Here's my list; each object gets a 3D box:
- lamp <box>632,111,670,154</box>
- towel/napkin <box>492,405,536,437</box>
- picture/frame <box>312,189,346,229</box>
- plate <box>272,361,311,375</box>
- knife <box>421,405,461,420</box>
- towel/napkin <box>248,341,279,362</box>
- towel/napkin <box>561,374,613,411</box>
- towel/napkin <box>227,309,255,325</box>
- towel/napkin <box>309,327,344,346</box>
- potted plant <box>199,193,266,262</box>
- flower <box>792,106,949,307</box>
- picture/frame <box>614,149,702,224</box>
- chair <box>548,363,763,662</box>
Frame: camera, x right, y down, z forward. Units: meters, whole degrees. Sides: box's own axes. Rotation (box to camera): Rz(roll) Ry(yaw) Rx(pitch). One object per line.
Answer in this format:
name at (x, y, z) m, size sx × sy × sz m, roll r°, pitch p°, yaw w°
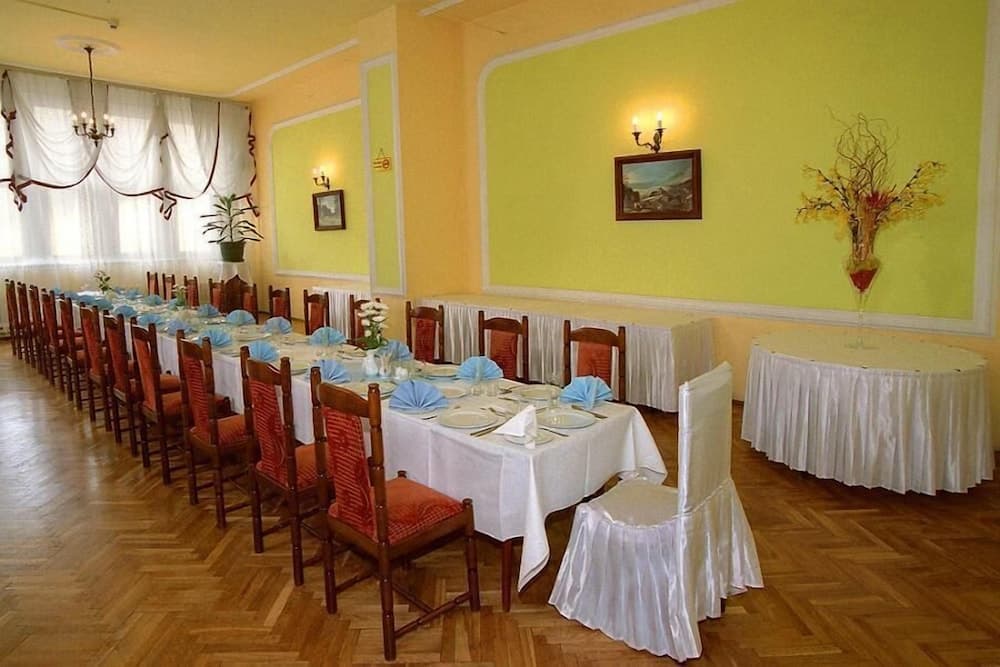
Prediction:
lamp at (1.639, -2.170, 7.414) m, size 0.276 × 0.405 × 0.487 m, roll 16°, pitch -12°, yaw -40°
towel/napkin at (0.100, 0.548, 4.379) m, size 0.284 × 0.195 × 0.130 m, roll 5°, pitch 12°, yaw 35°
picture/frame at (-2.675, -1.975, 10.874) m, size 0.674 × 0.578 × 0.047 m, roll 5°, pitch 7°, yaw 41°
plate at (-1.607, 0.267, 5.481) m, size 0.221 × 0.050 × 0.209 m, roll 5°, pitch 6°, yaw 21°
knife at (-0.407, 0.531, 4.661) m, size 0.247 × 0.027 × 0.028 m, roll -14°, pitch 30°, yaw -27°
towel/napkin at (-1.863, 0.140, 5.476) m, size 0.179 × 0.070 × 0.182 m, roll 9°, pitch -3°, yaw 28°
towel/napkin at (0.634, 0.394, 4.796) m, size 0.251 × 0.104 × 0.253 m, roll 9°, pitch 15°, yaw 38°
towel/napkin at (-2.590, -0.161, 6.981) m, size 0.179 × 0.065 × 0.177 m, roll 7°, pitch 4°, yaw -1°
towel/napkin at (-1.480, 0.024, 5.926) m, size 0.186 × 0.077 × 0.185 m, roll -1°, pitch -10°, yaw -2°
potted plant at (-4.533, -1.843, 12.011) m, size 0.795 × 1.199 × 0.988 m, roll 7°, pitch 13°, yaw 41°
flower at (3.185, -1.123, 6.043) m, size 1.059 × 1.649 × 1.159 m, roll 2°, pitch 11°, yaw 23°
picture/frame at (1.734, -1.598, 7.413) m, size 0.846 × 0.611 × 0.090 m, roll 7°, pitch 17°, yaw 34°
chair at (0.963, 1.058, 4.313) m, size 1.271 × 1.698 × 0.704 m, roll 1°, pitch 11°, yaw 17°
